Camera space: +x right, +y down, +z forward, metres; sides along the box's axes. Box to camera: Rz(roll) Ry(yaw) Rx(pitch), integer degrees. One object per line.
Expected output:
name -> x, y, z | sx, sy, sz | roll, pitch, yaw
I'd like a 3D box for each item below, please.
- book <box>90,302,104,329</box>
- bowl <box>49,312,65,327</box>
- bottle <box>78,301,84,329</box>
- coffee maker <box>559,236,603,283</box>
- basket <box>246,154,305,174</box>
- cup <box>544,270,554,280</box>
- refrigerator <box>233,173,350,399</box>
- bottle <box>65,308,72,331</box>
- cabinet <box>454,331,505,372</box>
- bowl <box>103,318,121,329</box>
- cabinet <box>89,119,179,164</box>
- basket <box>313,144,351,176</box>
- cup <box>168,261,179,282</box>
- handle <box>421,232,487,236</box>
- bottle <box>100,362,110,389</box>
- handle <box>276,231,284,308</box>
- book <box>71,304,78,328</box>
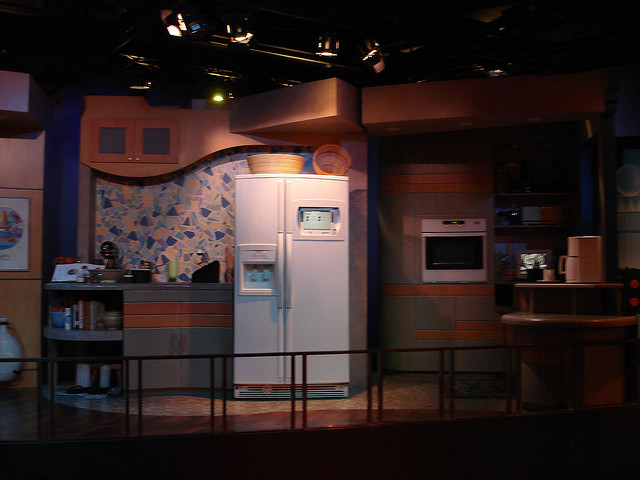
book -> -2.395, 0.818, 6.646 | 0.084, 0.218, 0.275 | 4, -1, -15
bowl -> -2.884, 0.865, 6.740 | 0.231, 0.131, 0.215 | -1, -5, 0
bottle -> -2.596, 0.811, 6.639 | 0.062, 0.297, 0.045 | 1, -3, -18
coffee maker -> 2.485, 0.184, 5.805 | 0.305, 0.436, 0.144 | -1, -3, 35
basket -> -0.478, -0.826, 6.676 | 0.418, 0.084, 0.336 | 1, -4, -17
cup -> 2.416, 0.362, 6.442 | 0.094, 0.099, 0.041 | 0, -2, 13
refrigerator -> -0.146, 0.432, 6.006 | 1.181, 2.362, 1.216 | 1, -2, -17
bottle -> -2.727, 0.855, 6.628 | 0.073, 0.238, 0.074 | 0, -2, 0
cabinet -> 1.463, 0.997, 5.526 | 0.698, 0.296, 0.289 | 0, -8, 1
bowl -> -2.249, 0.894, 6.574 | 0.174, 0.080, 0.135 | 1, -3, -6
cabinet -> -2.013, -1.175, 7.301 | 1.607, 0.498, 0.535 | 7, 10, 32
basket -> 0.126, -0.889, 6.787 | 0.400, 0.357, 0.211 | 0, -2, 6
cup -> -1.724, 0.365, 7.158 | 0.108, 0.226, 0.081 | 1, -2, -11
handle -> 1.641, -0.076, 7.502 | 0.742, 0.038, 0.079 | 0, -2, 11
bottle -> -1.695, 1.054, 4.813 | 0.067, 0.228, 0.290 | 1, -2, -20
handle -> -0.414, 0.301, 6.355 | 0.079, 0.792, 0.022 | 1, -3, -8
book -> -2.692, 0.828, 6.694 | 0.065, 0.246, 0.114 | 1, -3, -24
